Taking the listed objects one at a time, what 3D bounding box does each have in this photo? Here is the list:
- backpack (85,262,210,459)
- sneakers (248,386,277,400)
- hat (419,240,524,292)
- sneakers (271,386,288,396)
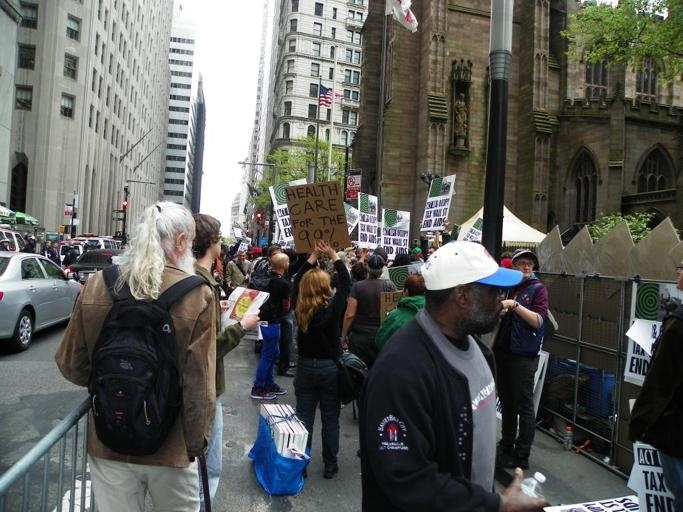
[{"bbox_3d":[-1.236,0.705,3.457,0.598,1.229,0.331,1,2,5],"label":"backpack"},{"bbox_3d":[-1.202,2.082,8.251,0.373,0.206,0.181,2,1,-5],"label":"sneakers"},{"bbox_3d":[0.734,0.015,3.166,0.421,0.229,0.310,-4,6,-1],"label":"hat"},{"bbox_3d":[-0.958,2.101,8.436,0.204,0.111,0.109,0,0,13],"label":"sneakers"}]
